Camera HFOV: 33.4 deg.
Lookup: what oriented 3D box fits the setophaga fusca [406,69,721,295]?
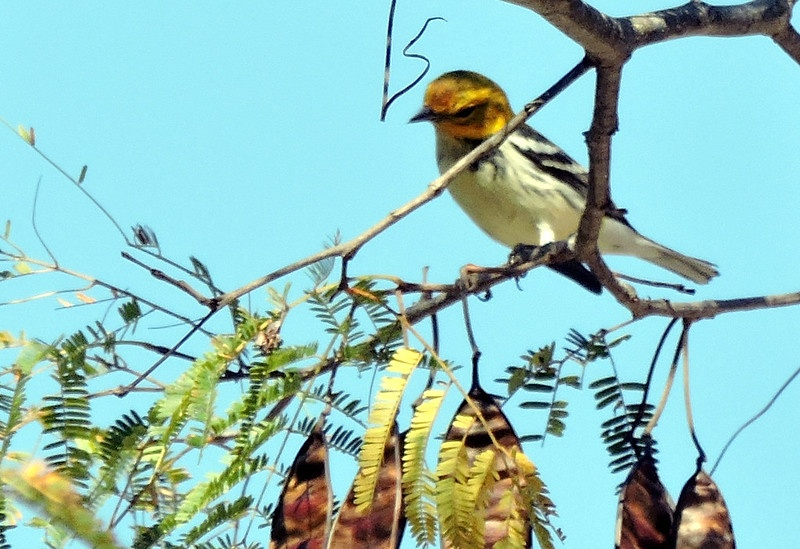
[{"bbox_3d":[0.520,-0.391,5.691,1.429,0.856,0.500,15,-21,-4],"label":"setophaga fusca"}]
